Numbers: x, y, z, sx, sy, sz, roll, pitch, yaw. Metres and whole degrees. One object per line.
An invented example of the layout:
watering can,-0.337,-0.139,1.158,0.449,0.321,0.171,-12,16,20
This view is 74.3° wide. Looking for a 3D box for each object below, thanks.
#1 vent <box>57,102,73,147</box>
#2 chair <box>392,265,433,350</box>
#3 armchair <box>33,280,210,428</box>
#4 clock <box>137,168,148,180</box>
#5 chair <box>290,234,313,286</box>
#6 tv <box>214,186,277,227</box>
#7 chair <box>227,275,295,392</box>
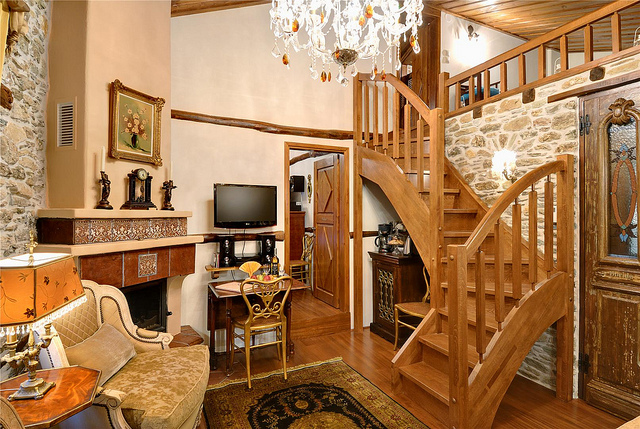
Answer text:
vent,-2.574,-0.913,4.346,0.186,0.475,0.037,-2,-2,7
chair,1.263,1.162,5.663,0.585,1.297,0.568,-4,-12,13
armchair,-1.696,1.285,3.766,1.352,0.925,0.898,-3,1,-16
clock,-1.955,-0.447,4.692,0.022,0.098,0.097,6,1,37
chair,-0.397,0.831,7.775,0.563,0.935,0.531,0,6,-14
tv,-0.972,-0.107,5.650,0.849,0.616,0.062,0,-2,-23
chair,-0.752,1.359,5.193,0.740,1.309,0.762,-1,6,-20
